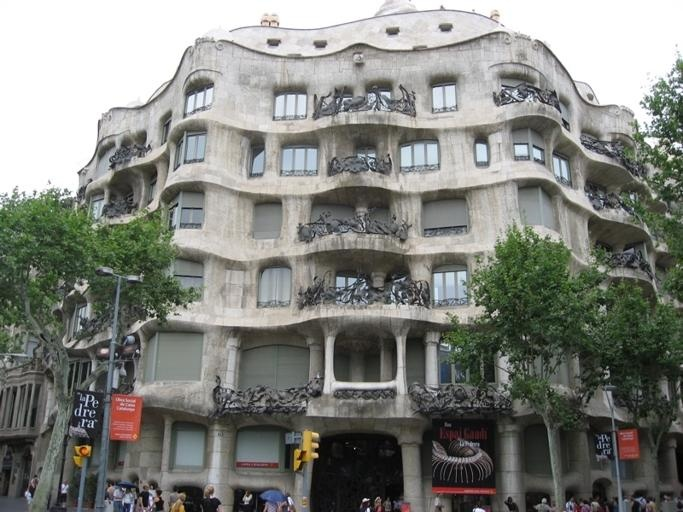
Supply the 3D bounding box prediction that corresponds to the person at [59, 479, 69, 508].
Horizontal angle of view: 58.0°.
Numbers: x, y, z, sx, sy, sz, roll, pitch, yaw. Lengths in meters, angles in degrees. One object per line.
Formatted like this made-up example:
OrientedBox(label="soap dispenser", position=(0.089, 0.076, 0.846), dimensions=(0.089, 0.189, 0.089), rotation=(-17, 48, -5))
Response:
OrientedBox(label="person", position=(-17.614, 15.150, 39.180), dimensions=(0.594, 1.516, 2.859), rotation=(10, -26, -21))
